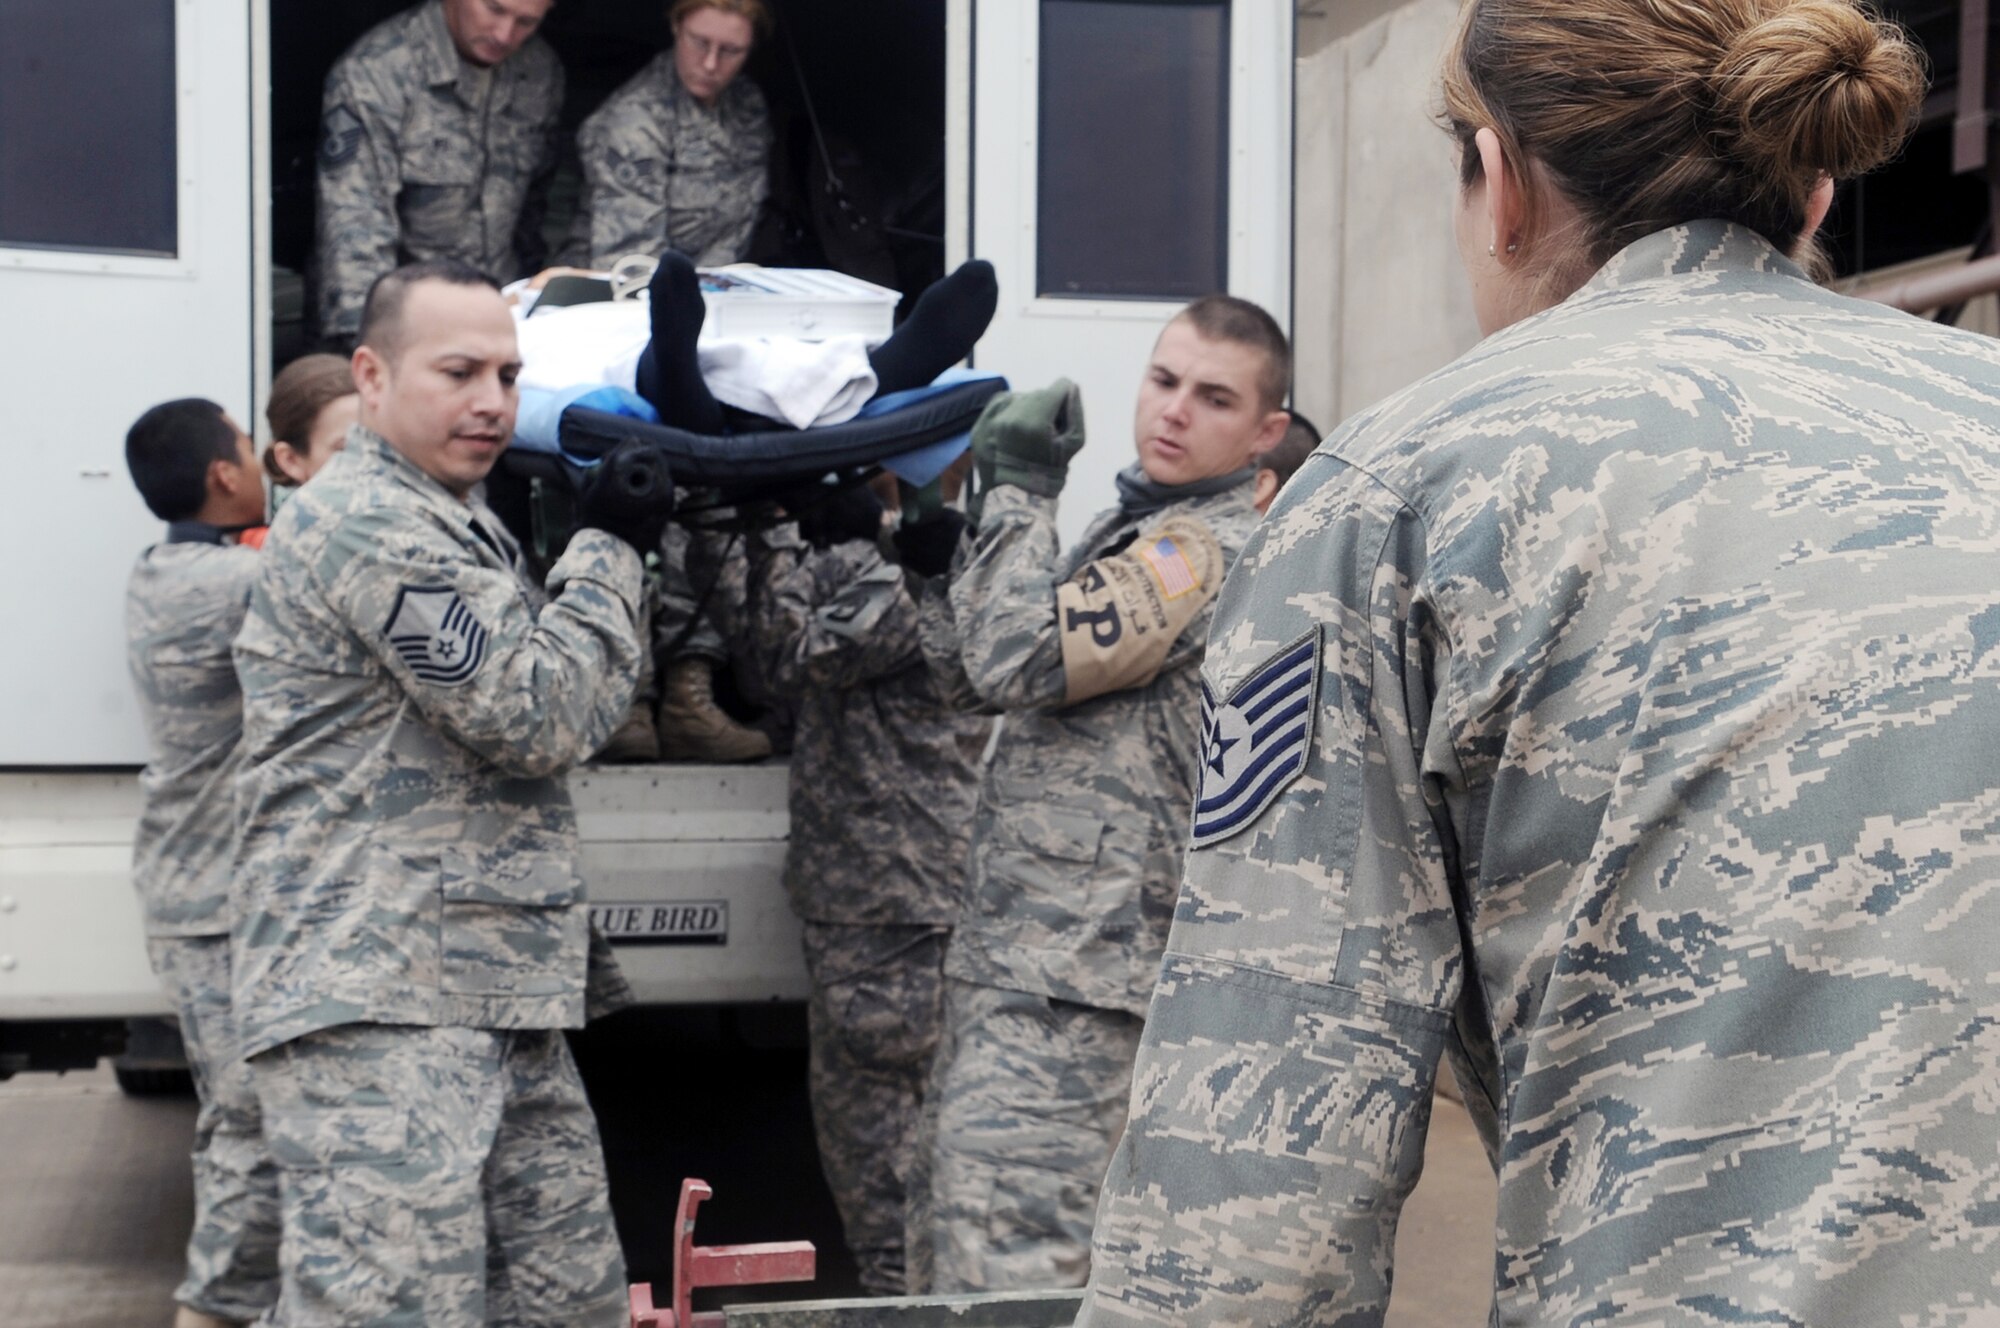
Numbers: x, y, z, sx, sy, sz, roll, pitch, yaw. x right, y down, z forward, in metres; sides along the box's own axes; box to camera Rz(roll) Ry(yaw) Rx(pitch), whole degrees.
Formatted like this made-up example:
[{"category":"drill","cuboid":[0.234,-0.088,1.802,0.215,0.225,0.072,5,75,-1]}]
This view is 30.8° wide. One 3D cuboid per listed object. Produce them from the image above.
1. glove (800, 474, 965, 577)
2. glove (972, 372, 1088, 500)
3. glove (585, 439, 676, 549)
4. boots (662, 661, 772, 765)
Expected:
[{"category":"glove","cuboid":[-0.250,-0.295,7.531,0.313,0.114,0.193,4,17,-44]},{"category":"glove","cuboid":[0.067,-0.462,7.317,0.201,0.249,0.264,1,14,-31]},{"category":"glove","cuboid":[-0.712,-0.323,7.059,0.140,0.198,0.210,10,-9,-17]},{"category":"boots","cuboid":[-0.665,0.095,8.177,0.332,0.209,0.118,9,-2,-35]}]
